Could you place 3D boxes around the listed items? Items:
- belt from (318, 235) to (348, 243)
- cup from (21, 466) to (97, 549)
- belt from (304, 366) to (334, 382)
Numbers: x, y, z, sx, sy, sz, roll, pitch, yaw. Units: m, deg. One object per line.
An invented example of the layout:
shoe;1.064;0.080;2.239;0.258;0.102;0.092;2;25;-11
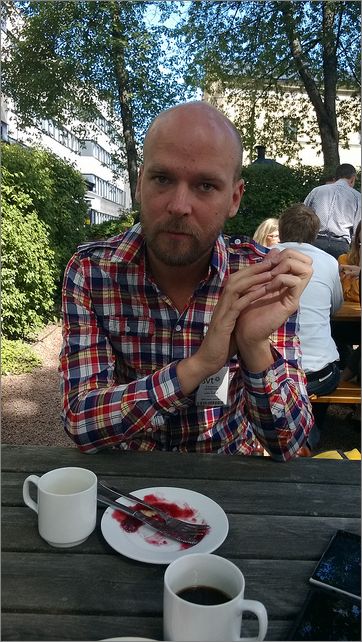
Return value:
belt;1.950;-1.090;6.512;0.231;0.057;0.238;3;4;3
cup;-0.236;0.346;0.933;0.143;0.114;0.100;4;9;18
belt;0.875;0.336;3.183;0.136;0.056;0.140;-18;7;11
